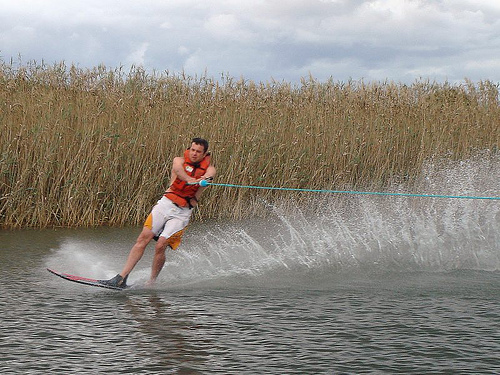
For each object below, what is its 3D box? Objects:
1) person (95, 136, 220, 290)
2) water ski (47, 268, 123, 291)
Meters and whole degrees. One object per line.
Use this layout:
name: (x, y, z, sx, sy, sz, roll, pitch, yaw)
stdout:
person: (-1.157, 0.355, 9.200, 1.630, 2.297, 0.713, 27, -7, -6)
water ski: (-2.208, 1.232, 8.462, 1.190, 0.398, 0.534, 3, 4, -14)
